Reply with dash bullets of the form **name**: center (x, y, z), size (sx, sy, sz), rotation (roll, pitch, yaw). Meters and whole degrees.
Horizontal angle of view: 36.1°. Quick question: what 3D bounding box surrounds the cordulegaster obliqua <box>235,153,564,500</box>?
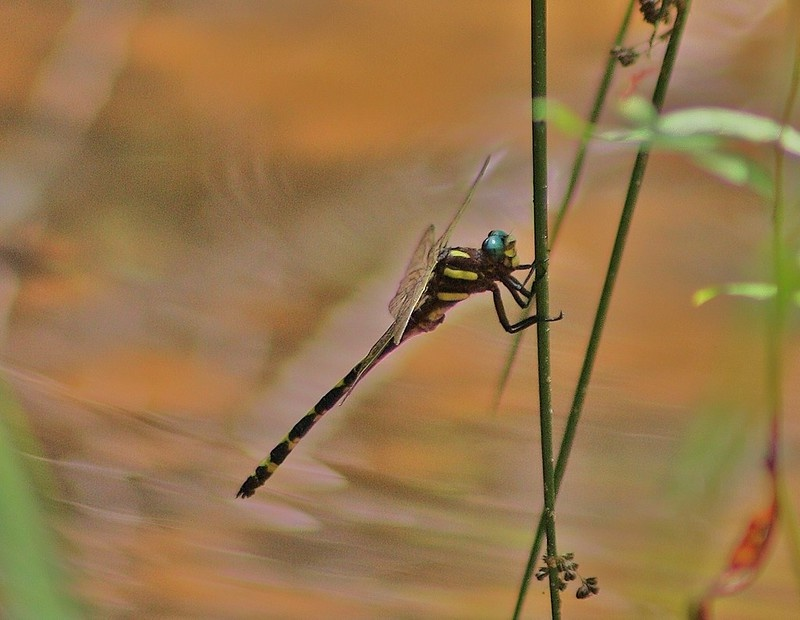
- **cordulegaster obliqua**: center (-0.074, 0.004, 1.312), size (0.352, 0.288, 0.115), rotation (-40, -87, 8)
